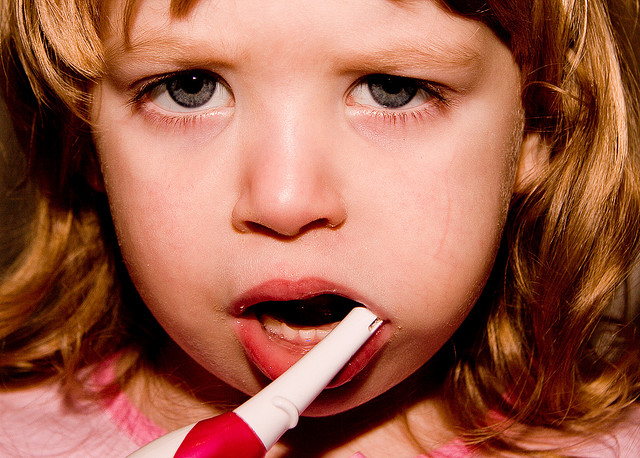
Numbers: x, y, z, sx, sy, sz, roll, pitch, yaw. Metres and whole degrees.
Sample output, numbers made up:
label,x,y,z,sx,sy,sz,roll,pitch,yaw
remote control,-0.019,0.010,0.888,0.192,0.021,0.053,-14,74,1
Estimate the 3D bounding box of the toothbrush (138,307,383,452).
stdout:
label,x,y,z,sx,sy,sz,roll,pitch,yaw
toothbrush,-0.060,0.235,0.941,0.352,0.089,0.094,-21,51,-26
